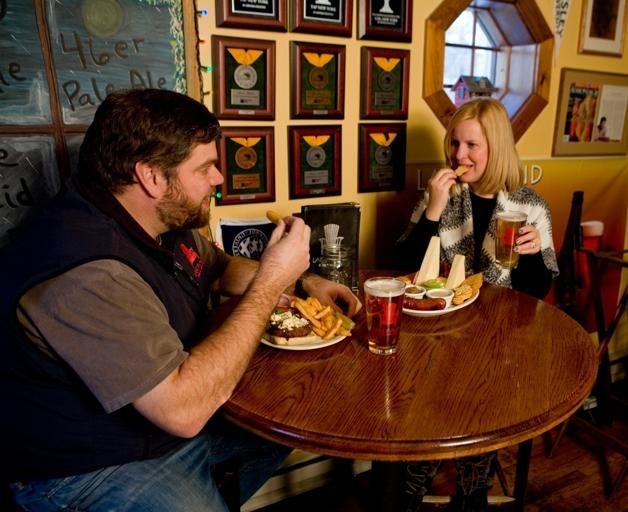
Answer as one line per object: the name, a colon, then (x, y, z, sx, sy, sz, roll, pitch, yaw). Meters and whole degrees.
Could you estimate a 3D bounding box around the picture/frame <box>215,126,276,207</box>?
picture/frame: (-0.325, -0.434, 2.250, 0.388, 0.446, 0.044, -5, 14, -28)

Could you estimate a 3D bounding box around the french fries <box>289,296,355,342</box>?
french fries: (0.030, 0.195, 1.513, 0.153, 0.055, 0.135, 36, 28, 16)

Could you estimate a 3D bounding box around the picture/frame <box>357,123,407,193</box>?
picture/frame: (0.369, -0.560, 2.653, 0.364, 0.385, 0.030, -9, 16, -30)

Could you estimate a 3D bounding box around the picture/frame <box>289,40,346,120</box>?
picture/frame: (0.010, -0.889, 2.369, 0.394, 0.427, 0.043, -5, 12, -30)

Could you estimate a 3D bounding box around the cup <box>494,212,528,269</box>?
cup: (0.712, -0.051, 1.759, 0.082, 0.200, 0.072, 4, 15, 22)

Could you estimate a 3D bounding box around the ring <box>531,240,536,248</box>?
ring: (0.953, -0.052, 2.088, 0.029, 0.028, 0.013, 0, -11, -24)

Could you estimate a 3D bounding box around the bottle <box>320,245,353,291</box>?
bottle: (0.093, 0.044, 1.993, 0.148, 0.243, 0.151, 1, 8, 0)

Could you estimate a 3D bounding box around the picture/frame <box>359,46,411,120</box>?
picture/frame: (0.371, -0.943, 2.558, 0.391, 0.396, 0.039, -7, 16, -28)

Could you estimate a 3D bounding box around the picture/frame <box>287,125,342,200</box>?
picture/frame: (-0.004, -0.496, 2.462, 0.366, 0.419, 0.044, -7, 16, -28)
